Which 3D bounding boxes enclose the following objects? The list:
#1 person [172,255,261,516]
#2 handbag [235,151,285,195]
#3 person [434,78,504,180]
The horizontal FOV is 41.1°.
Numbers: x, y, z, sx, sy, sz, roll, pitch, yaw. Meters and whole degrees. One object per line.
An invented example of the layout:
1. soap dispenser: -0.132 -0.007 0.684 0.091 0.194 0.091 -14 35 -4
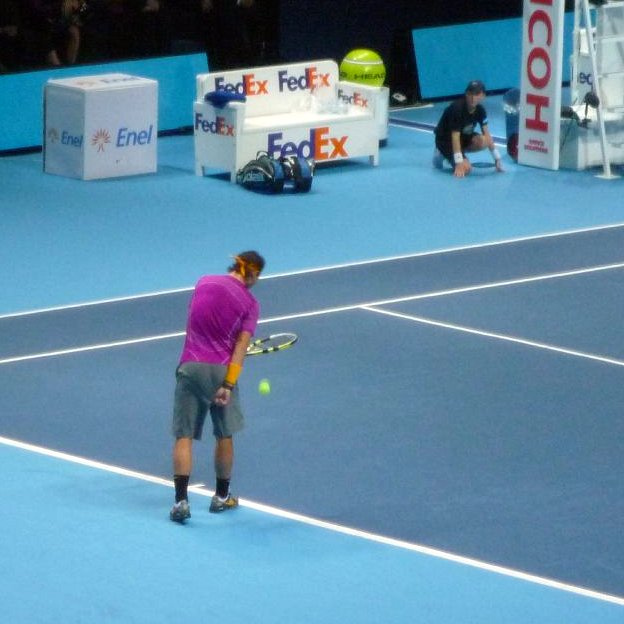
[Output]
1. person: -0.525 0.376 4.569 0.500 1.377 0.764 -1 8 -11
2. handbag: -0.731 -2.013 12.001 0.411 0.469 0.730 0 11 -31
3. person: 2.407 -2.773 12.770 0.833 1.422 1.149 -3 9 -23
